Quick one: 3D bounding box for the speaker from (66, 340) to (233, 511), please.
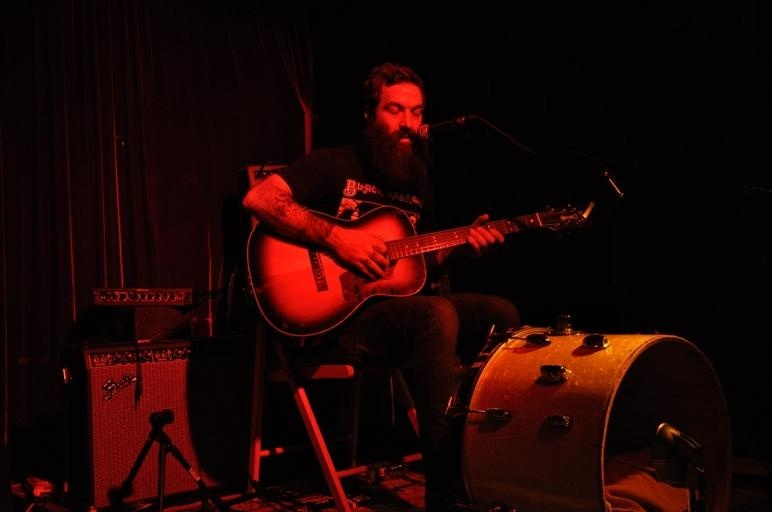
[{"bbox_3d":[-1.305,0.932,3.564,0.892,0.883,0.317,-1,-6,-32],"label":"speaker"}]
